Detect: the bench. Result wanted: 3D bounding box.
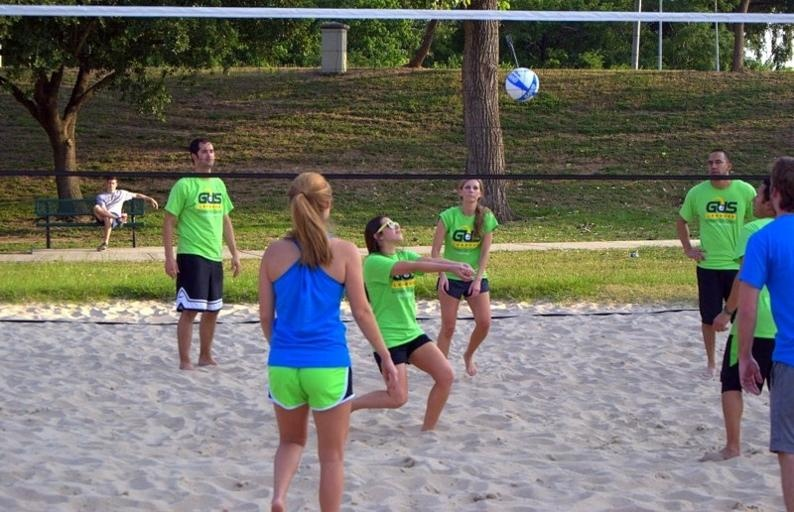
[{"bbox_3d":[-7.318,-0.749,32.370,2.552,1.090,0.781,-1,0,-12],"label":"bench"}]
